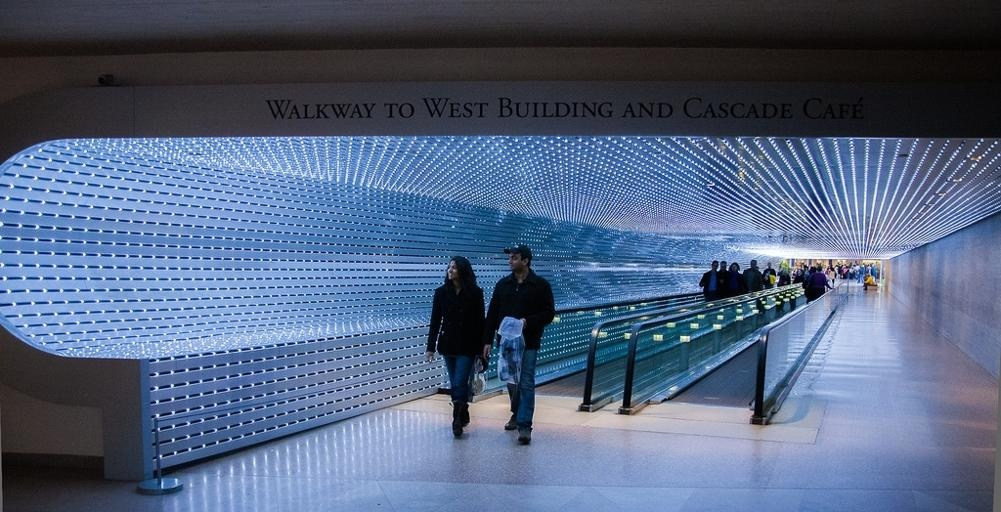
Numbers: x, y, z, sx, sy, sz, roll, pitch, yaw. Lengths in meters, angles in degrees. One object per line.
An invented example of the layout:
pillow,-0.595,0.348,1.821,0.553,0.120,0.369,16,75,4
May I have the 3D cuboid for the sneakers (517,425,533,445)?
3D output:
sneakers,0.383,2.689,8.843,0.212,0.241,0.268,0,6,1
